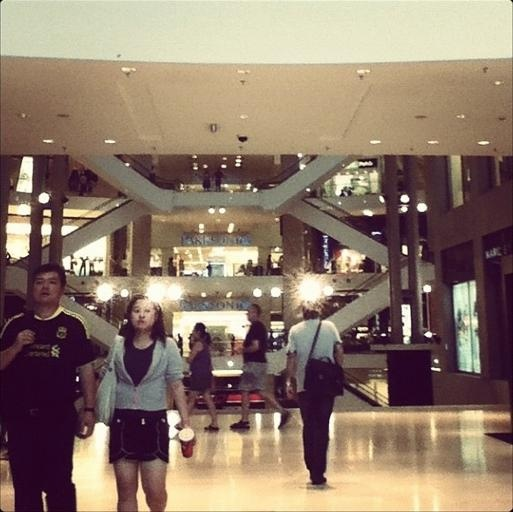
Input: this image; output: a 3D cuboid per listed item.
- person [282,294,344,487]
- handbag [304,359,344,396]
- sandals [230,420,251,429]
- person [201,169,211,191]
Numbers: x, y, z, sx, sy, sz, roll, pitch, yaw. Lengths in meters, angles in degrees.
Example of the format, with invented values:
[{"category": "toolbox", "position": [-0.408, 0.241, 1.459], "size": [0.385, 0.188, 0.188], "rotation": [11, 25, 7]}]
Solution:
[{"category": "person", "position": [0.467, 1.075, 4.410], "size": [0.452, 1.418, 0.425], "rotation": [-2, -11, 7]}, {"category": "handbag", "position": [0.516, 0.963, 4.313], "size": [0.274, 0.251, 0.104], "rotation": [6, -8, 1]}, {"category": "sandals", "position": [-0.202, 2.203, 7.147], "size": [0.290, 0.119, 0.096], "rotation": [3, -8, -7]}, {"category": "person", "position": [-1.546, -2.283, 17.034], "size": [0.261, 0.700, 0.511], "rotation": [0, -11, -6]}]
